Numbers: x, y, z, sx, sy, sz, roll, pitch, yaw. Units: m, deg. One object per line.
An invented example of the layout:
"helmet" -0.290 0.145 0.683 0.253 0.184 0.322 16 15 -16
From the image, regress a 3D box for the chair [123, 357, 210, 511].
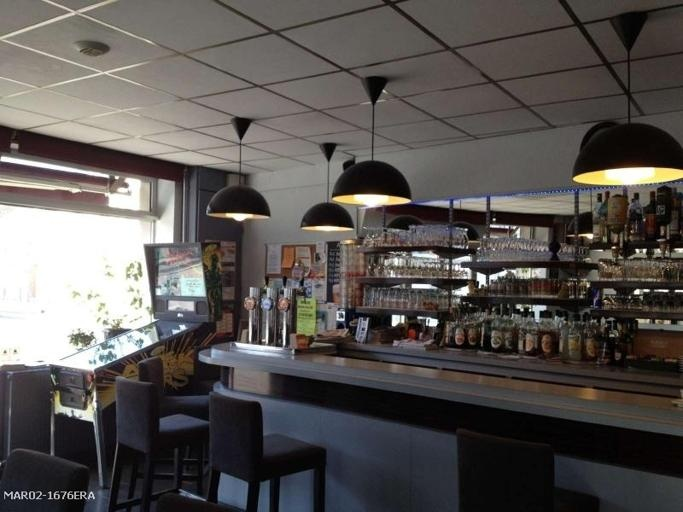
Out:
"chair" -1.483 1.655 4.984 0.580 1.025 0.522 6 2 -13

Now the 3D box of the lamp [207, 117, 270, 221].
"lamp" -1.025 -0.890 5.500 0.668 0.943 0.681 4 4 26

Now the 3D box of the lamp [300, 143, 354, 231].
"lamp" -0.144 -0.773 6.118 0.635 0.935 0.649 1 -1 2
